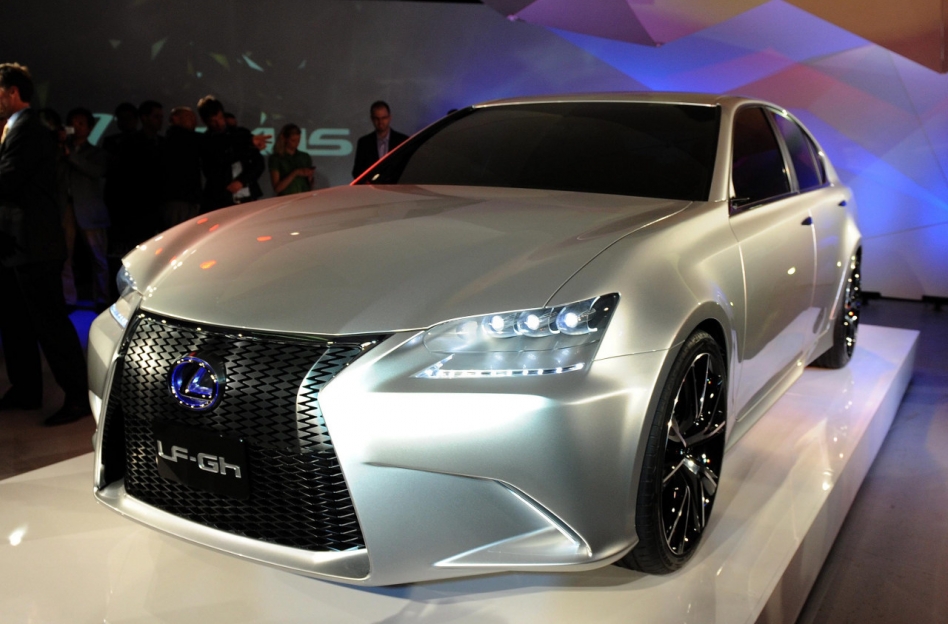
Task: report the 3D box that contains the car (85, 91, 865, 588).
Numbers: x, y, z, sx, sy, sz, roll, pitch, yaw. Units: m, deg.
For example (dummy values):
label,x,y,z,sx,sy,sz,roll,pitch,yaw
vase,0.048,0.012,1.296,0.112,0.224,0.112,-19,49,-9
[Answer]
label,x,y,z,sx,sy,sz,roll,pitch,yaw
car,0.543,0.040,3.006,1.767,1.173,3.322,4,7,32
